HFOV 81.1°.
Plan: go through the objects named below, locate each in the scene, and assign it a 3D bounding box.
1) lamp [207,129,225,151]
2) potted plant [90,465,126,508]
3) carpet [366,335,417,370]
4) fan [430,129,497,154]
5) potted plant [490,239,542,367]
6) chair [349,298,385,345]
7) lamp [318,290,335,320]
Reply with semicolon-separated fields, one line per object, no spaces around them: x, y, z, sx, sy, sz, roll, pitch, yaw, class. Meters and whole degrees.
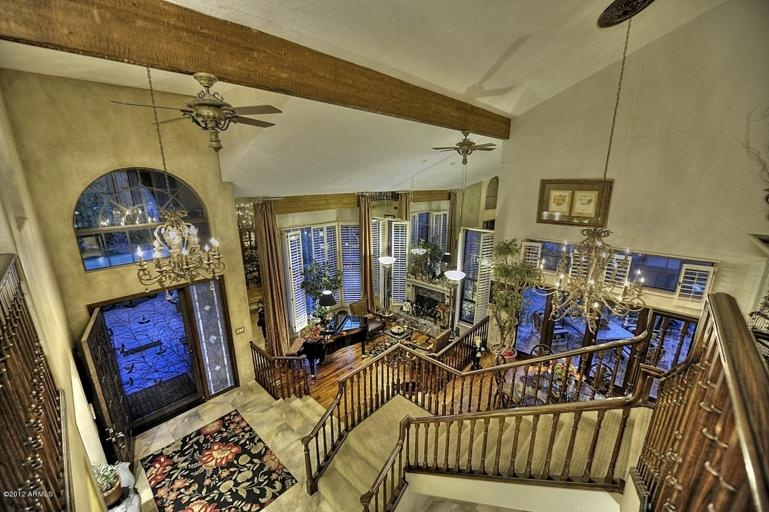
-2.062;-1.389;5.425;0.124;0.227;0.297;-3;9;-16;lamp
-3.871;3.199;6.260;0.538;0.249;0.600;0;0;-33;potted plant
0.131;2.013;9.309;0.784;0.048;0.897;9;14;42;carpet
1.495;-2.208;8.652;1.010;0.384;0.969;-3;10;-19;fan
2.630;1.197;9.262;0.984;2.389;0.821;8;16;20;potted plant
-0.448;1.700;11.673;0.785;0.925;0.820;-14;24;-37;chair
-1.467;1.190;11.333;0.350;0.822;1.243;-2;9;-8;lamp
